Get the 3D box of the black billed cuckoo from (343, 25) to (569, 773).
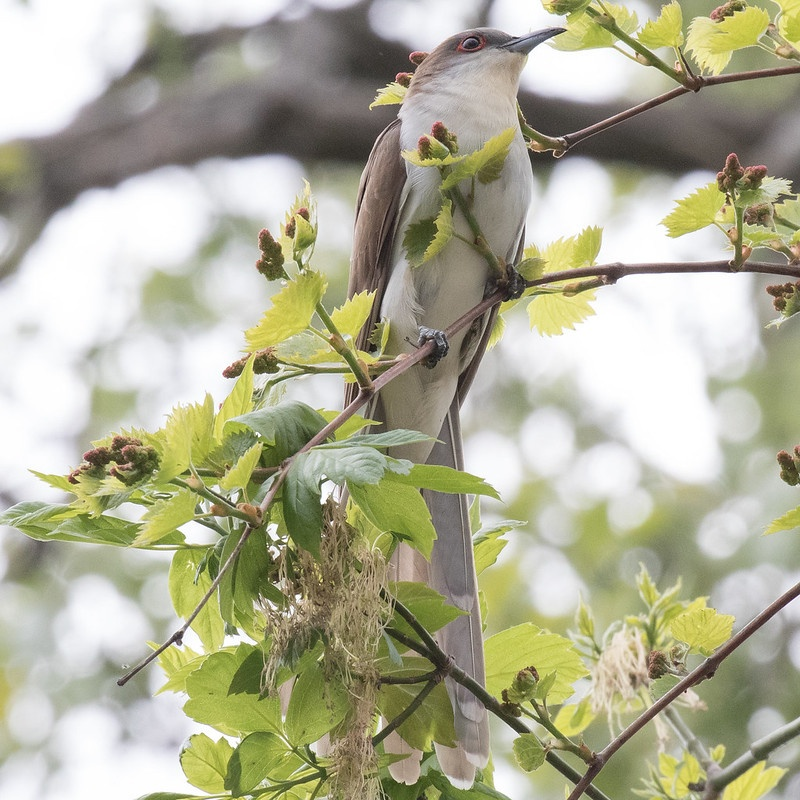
[{"bbox_3d":[0.223,-0.024,5.906,0.696,0.781,2.615,18,-104,-36],"label":"black billed cuckoo"}]
